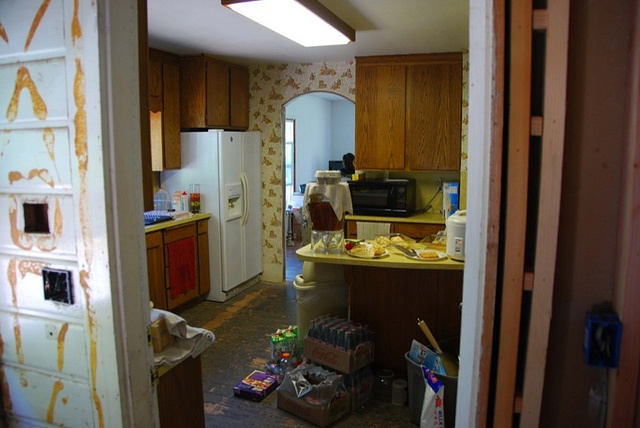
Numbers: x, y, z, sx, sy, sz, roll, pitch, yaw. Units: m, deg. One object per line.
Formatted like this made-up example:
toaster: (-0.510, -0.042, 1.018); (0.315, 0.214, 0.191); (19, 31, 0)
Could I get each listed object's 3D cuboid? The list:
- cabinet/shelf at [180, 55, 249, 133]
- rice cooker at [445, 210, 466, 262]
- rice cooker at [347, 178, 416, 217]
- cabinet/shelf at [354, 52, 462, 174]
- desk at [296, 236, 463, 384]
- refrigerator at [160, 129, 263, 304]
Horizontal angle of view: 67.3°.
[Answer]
cabinet/shelf: (-1.214, -1.380, 5.771); (0.320, 0.816, 0.937); (5, 9, 25)
rice cooker: (1.032, 0.150, 3.485); (0.208, 0.351, 0.206); (5, 11, 20)
rice cooker: (0.723, -0.243, 5.576); (0.685, 0.434, 0.592); (4, 11, 21)
cabinet/shelf: (1.011, -1.143, 5.709); (1.264, 1.332, 0.462); (1, -1, 4)
desk: (0.474, 0.726, 4.313); (1.350, 0.978, 1.553); (1, 4, 20)
refrigerator: (-1.367, -0.114, 5.963); (0.881, 2.237, 1.029); (2, 6, 21)
